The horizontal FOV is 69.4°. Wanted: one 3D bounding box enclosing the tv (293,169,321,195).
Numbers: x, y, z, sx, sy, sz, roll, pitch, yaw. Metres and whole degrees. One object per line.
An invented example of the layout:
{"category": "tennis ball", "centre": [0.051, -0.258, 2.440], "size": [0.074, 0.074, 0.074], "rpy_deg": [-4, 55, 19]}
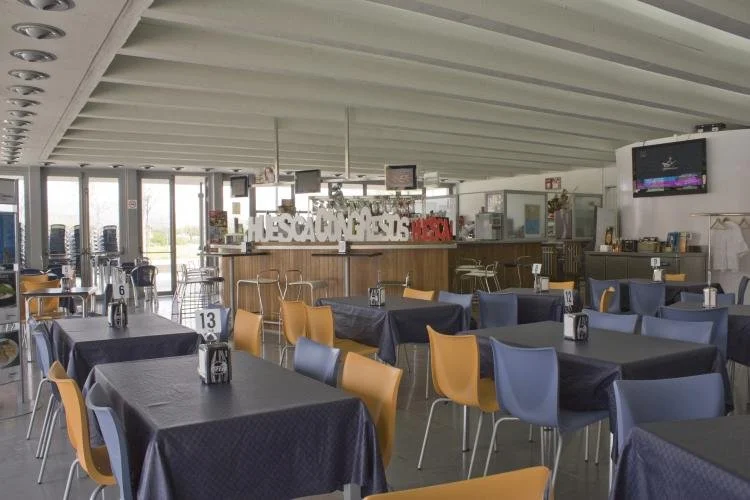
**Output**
{"category": "tv", "centre": [-1.366, -1.354, 10.804], "size": [0.804, 0.606, 0.112], "rpy_deg": [-2, -3, 27]}

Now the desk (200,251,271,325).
{"category": "desk", "centre": [-3.009, 0.659, 10.460], "size": [1.368, 1.671, 1.181], "rpy_deg": [2, 7, 14]}
